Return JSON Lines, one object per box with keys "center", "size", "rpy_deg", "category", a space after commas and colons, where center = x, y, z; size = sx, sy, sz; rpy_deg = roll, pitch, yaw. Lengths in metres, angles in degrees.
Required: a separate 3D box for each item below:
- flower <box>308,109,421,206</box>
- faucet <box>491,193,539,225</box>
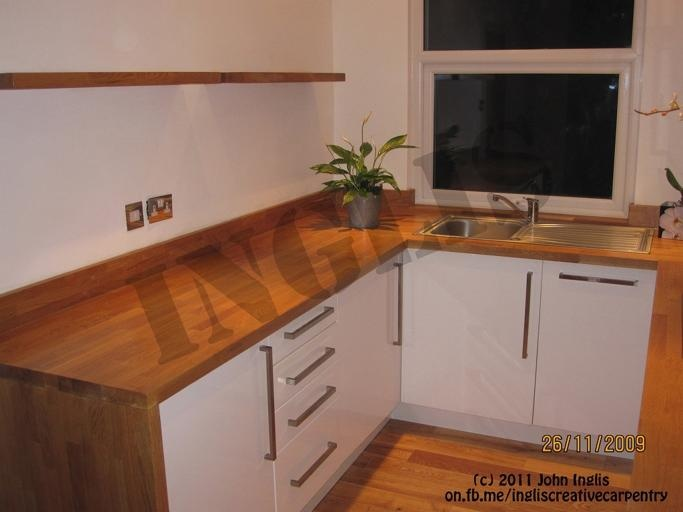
{"center": [0.114, -0.515, 2.936], "size": [0.543, 0.486, 0.630], "rpy_deg": [-4, 9, -44], "category": "flower"}
{"center": [1.033, -0.295, 2.967], "size": [0.253, 0.158, 0.295], "rpy_deg": [4, 16, 21], "category": "faucet"}
